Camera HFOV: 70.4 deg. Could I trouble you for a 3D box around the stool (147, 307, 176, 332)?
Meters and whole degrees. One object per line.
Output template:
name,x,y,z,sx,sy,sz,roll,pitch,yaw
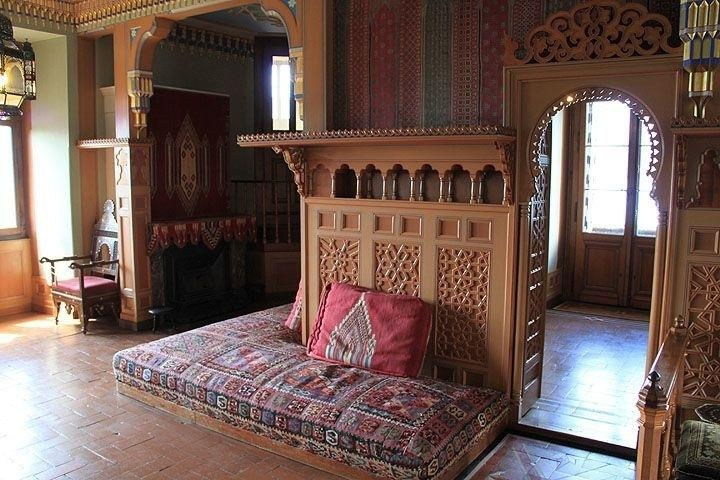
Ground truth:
stool,-3.033,1.175,7.822,0.392,0.409,0.347,-4,2,-42

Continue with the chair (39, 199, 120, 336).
chair,-4.296,0.372,7.950,1.093,1.853,1.279,-10,16,-37
